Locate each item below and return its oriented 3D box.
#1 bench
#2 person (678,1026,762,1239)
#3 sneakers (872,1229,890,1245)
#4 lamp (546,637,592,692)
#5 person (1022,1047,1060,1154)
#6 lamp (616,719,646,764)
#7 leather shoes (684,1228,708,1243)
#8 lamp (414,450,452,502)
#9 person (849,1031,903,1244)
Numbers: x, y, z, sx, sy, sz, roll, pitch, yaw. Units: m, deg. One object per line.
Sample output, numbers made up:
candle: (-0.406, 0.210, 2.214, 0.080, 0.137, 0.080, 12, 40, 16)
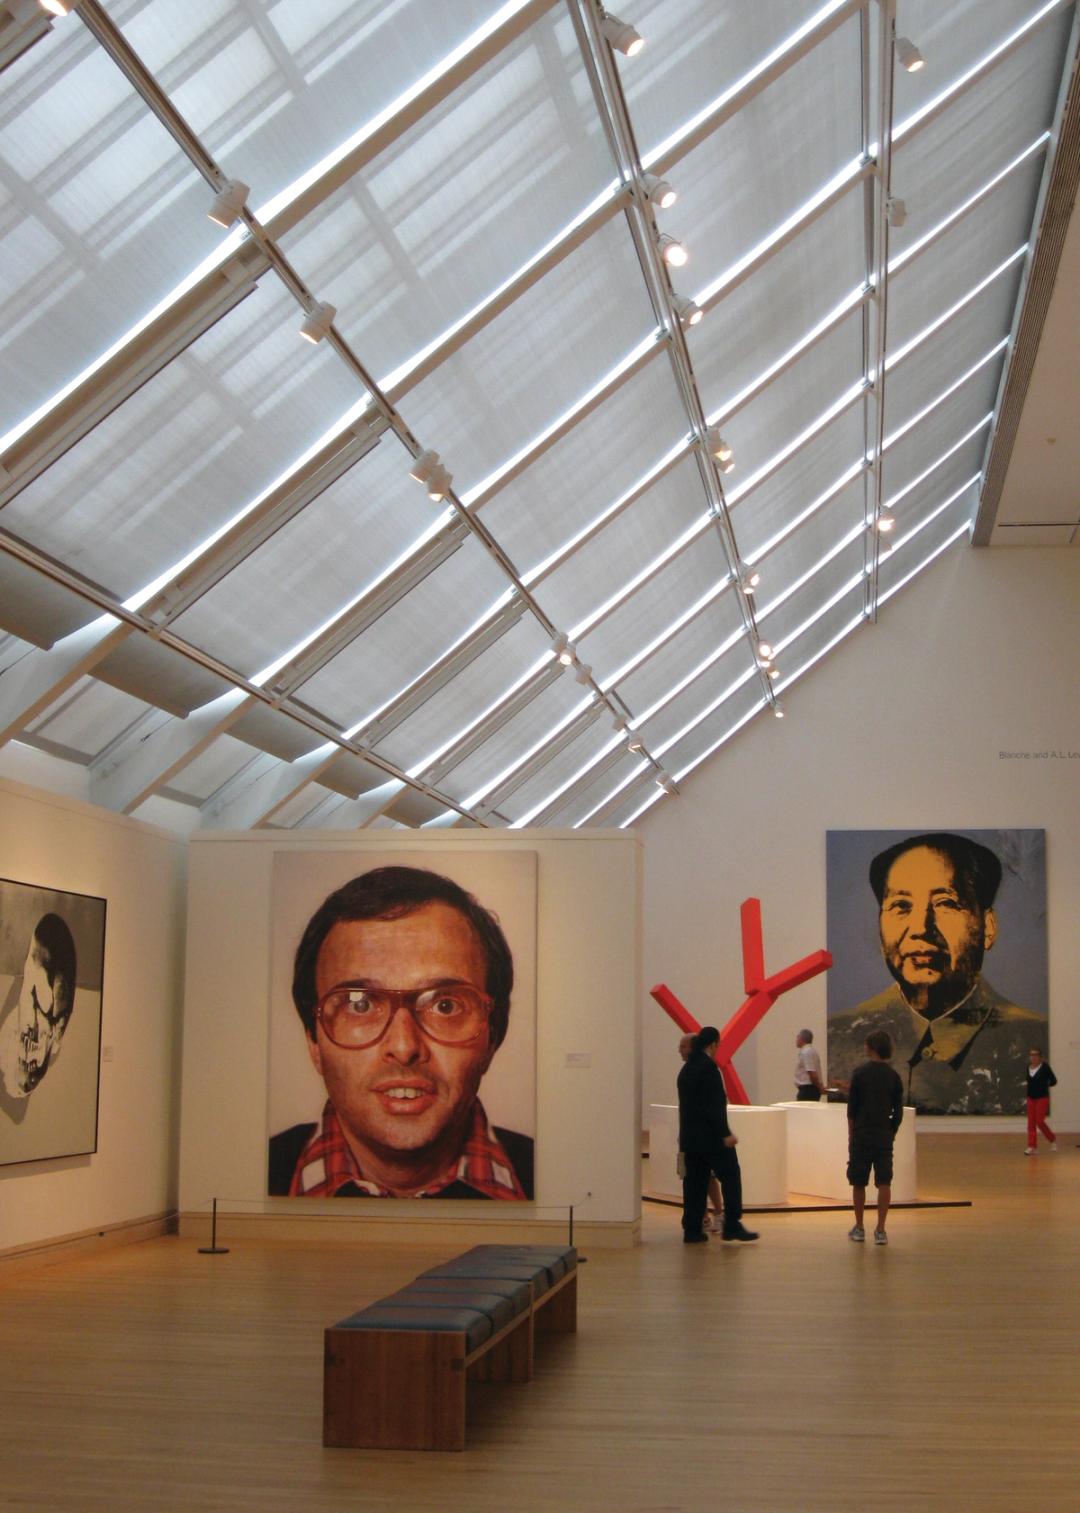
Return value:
bench: (-0.282, 2.101, 4.528, 0.495, 0.490, 1.896, -4, -12, 11)
person: (1.306, 2.843, 9.524, 0.518, 1.532, 0.792, -3, -13, 7)
sneakers: (2.437, 3.461, 9.032, 0.064, 0.130, 0.192, 0, -33, 5)
lamp: (0.269, -0.930, 12.460, 0.189, 0.188, 0.474, -30, -24, 1)
person: (6.928, 4.761, 17.433, 0.479, 1.278, 1.707, -6, -13, 20)
lamp: (1.161, -0.209, 16.476, 0.315, 0.485, 0.196, 11, -11, -38)
leather shoes: (1.149, 3.538, 9.265, 0.183, 0.125, 0.066, -11, -21, 19)
lamp: (-0.638, -1.735, 7.731, 0.141, 0.238, 0.383, -4, -6, 10)
person: (2.522, 2.868, 9.515, 0.430, 1.523, 1.788, -4, -13, 13)
